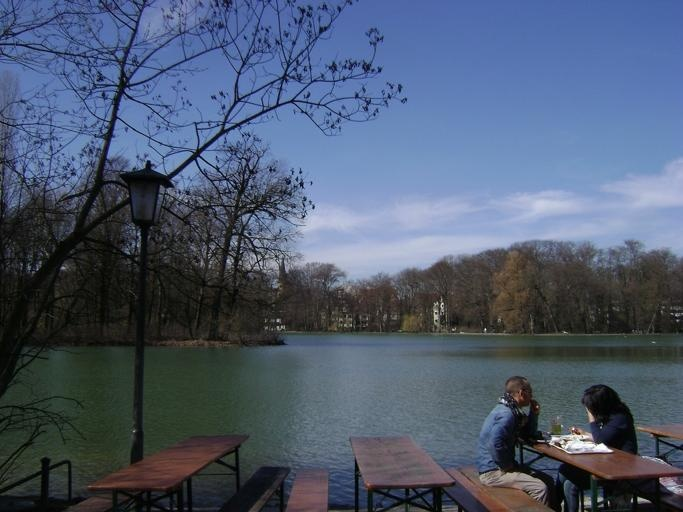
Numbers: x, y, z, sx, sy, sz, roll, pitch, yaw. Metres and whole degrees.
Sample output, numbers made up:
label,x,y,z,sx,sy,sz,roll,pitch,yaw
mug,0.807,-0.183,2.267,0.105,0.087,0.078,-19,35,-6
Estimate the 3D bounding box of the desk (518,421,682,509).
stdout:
label,x,y,z,sx,sy,sz,roll,pitch,yaw
desk,3.155,2.645,7.289,1.213,0.717,1.275,2,-10,-15
